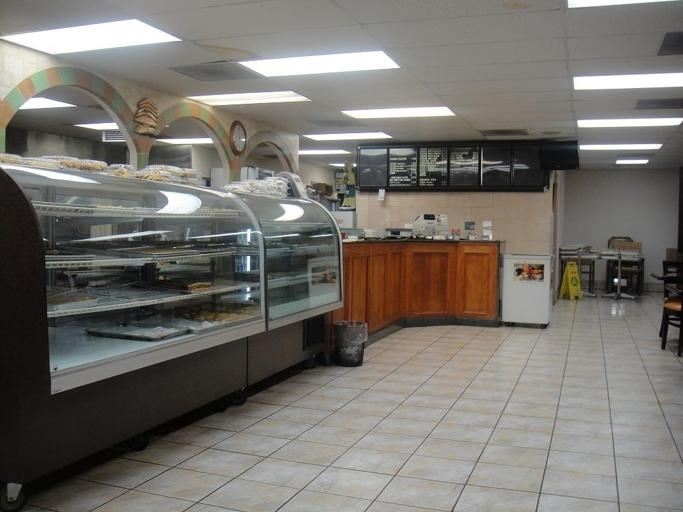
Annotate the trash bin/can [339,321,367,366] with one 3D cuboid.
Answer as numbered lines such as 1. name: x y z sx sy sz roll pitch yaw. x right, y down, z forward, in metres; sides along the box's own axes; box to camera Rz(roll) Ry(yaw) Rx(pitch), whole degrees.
1. trash bin/can: 0.095 1.008 5.226 0.396 0.421 0.342 7 -13 -40

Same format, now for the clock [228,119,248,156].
1. clock: -1.654 -1.886 7.461 0.025 0.561 0.618 -12 24 -35

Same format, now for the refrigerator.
1. refrigerator: 3.083 0.548 8.260 1.179 1.514 1.157 0 2 18
